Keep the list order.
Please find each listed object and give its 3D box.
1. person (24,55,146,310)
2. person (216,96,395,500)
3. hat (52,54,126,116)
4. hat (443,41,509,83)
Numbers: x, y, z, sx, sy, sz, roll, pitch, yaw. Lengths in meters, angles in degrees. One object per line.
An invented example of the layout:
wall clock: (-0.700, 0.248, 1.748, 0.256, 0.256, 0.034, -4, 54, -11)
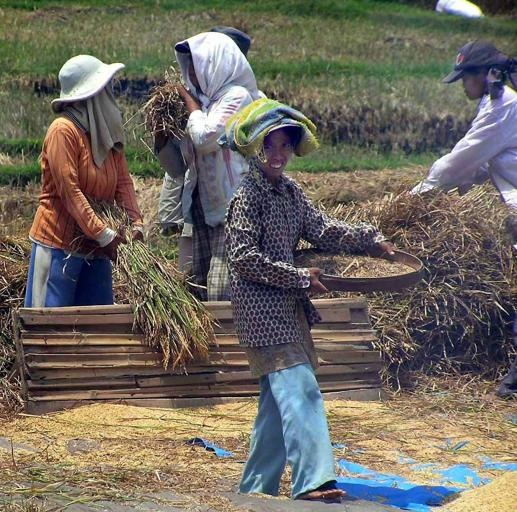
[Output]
person: (-1.077, -0.358, 6.628, 0.681, 1.448, 0.454, -6, 18, -40)
person: (0.181, 0.257, 5.706, 0.822, 2.162, 1.018, 3, 14, -11)
hat: (-1.081, -1.081, 6.544, 0.424, 0.363, 0.275, 3, 14, -6)
hat: (1.613, -1.449, 7.695, 0.391, 0.204, 0.240, -21, 11, 17)
